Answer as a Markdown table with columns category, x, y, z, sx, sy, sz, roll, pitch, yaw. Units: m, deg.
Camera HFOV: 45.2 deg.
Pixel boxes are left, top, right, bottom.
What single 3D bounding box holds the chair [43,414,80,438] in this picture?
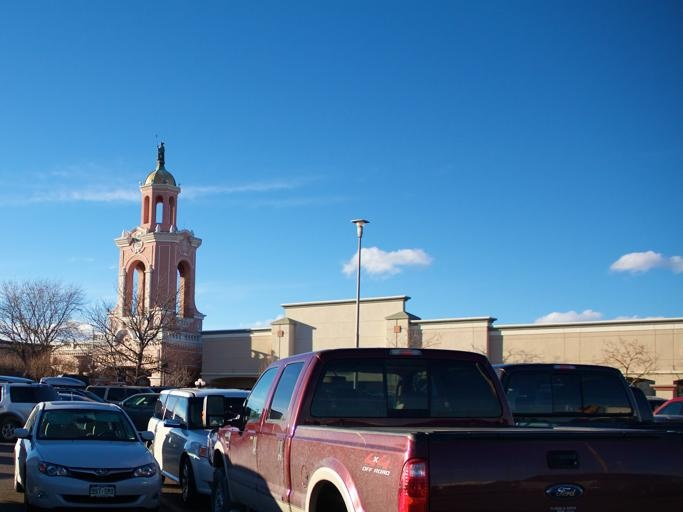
| category | x | y | z | sx | sy | sz | roll | pitch | yaw |
| --- | --- | --- | --- | --- | --- | --- | --- | --- | --- |
| chair | -4.797 | 2.883 | 13.962 | 0.345 | 0.250 | 0.552 | 5 | -5 | -21 |
